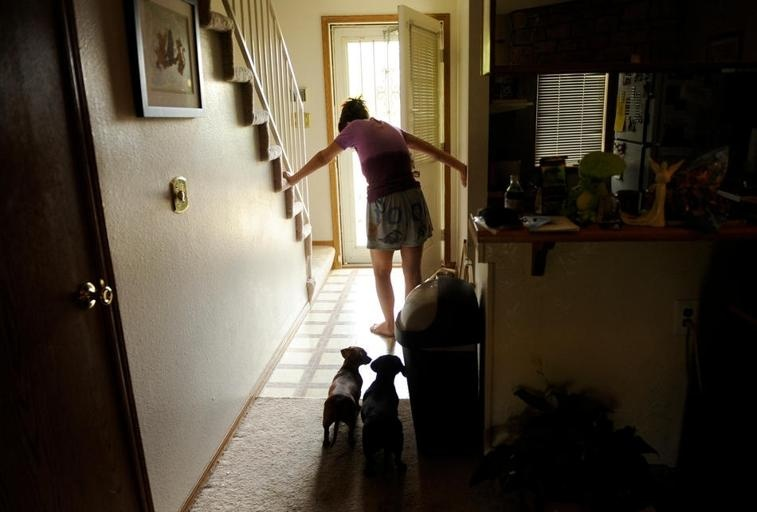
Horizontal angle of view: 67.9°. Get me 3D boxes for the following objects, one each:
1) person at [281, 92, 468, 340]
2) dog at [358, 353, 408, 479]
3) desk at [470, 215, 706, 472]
[{"bbox_3d":[-0.028,-0.351,4.166,1.371,1.787,0.795,-19,32,-23],"label":"person"},{"bbox_3d":[0.024,0.751,2.753,0.183,0.426,0.595,4,7,-1],"label":"dog"},{"bbox_3d":[0.902,0.311,2.873,1.056,1.418,0.928,-2,12,4],"label":"desk"}]
